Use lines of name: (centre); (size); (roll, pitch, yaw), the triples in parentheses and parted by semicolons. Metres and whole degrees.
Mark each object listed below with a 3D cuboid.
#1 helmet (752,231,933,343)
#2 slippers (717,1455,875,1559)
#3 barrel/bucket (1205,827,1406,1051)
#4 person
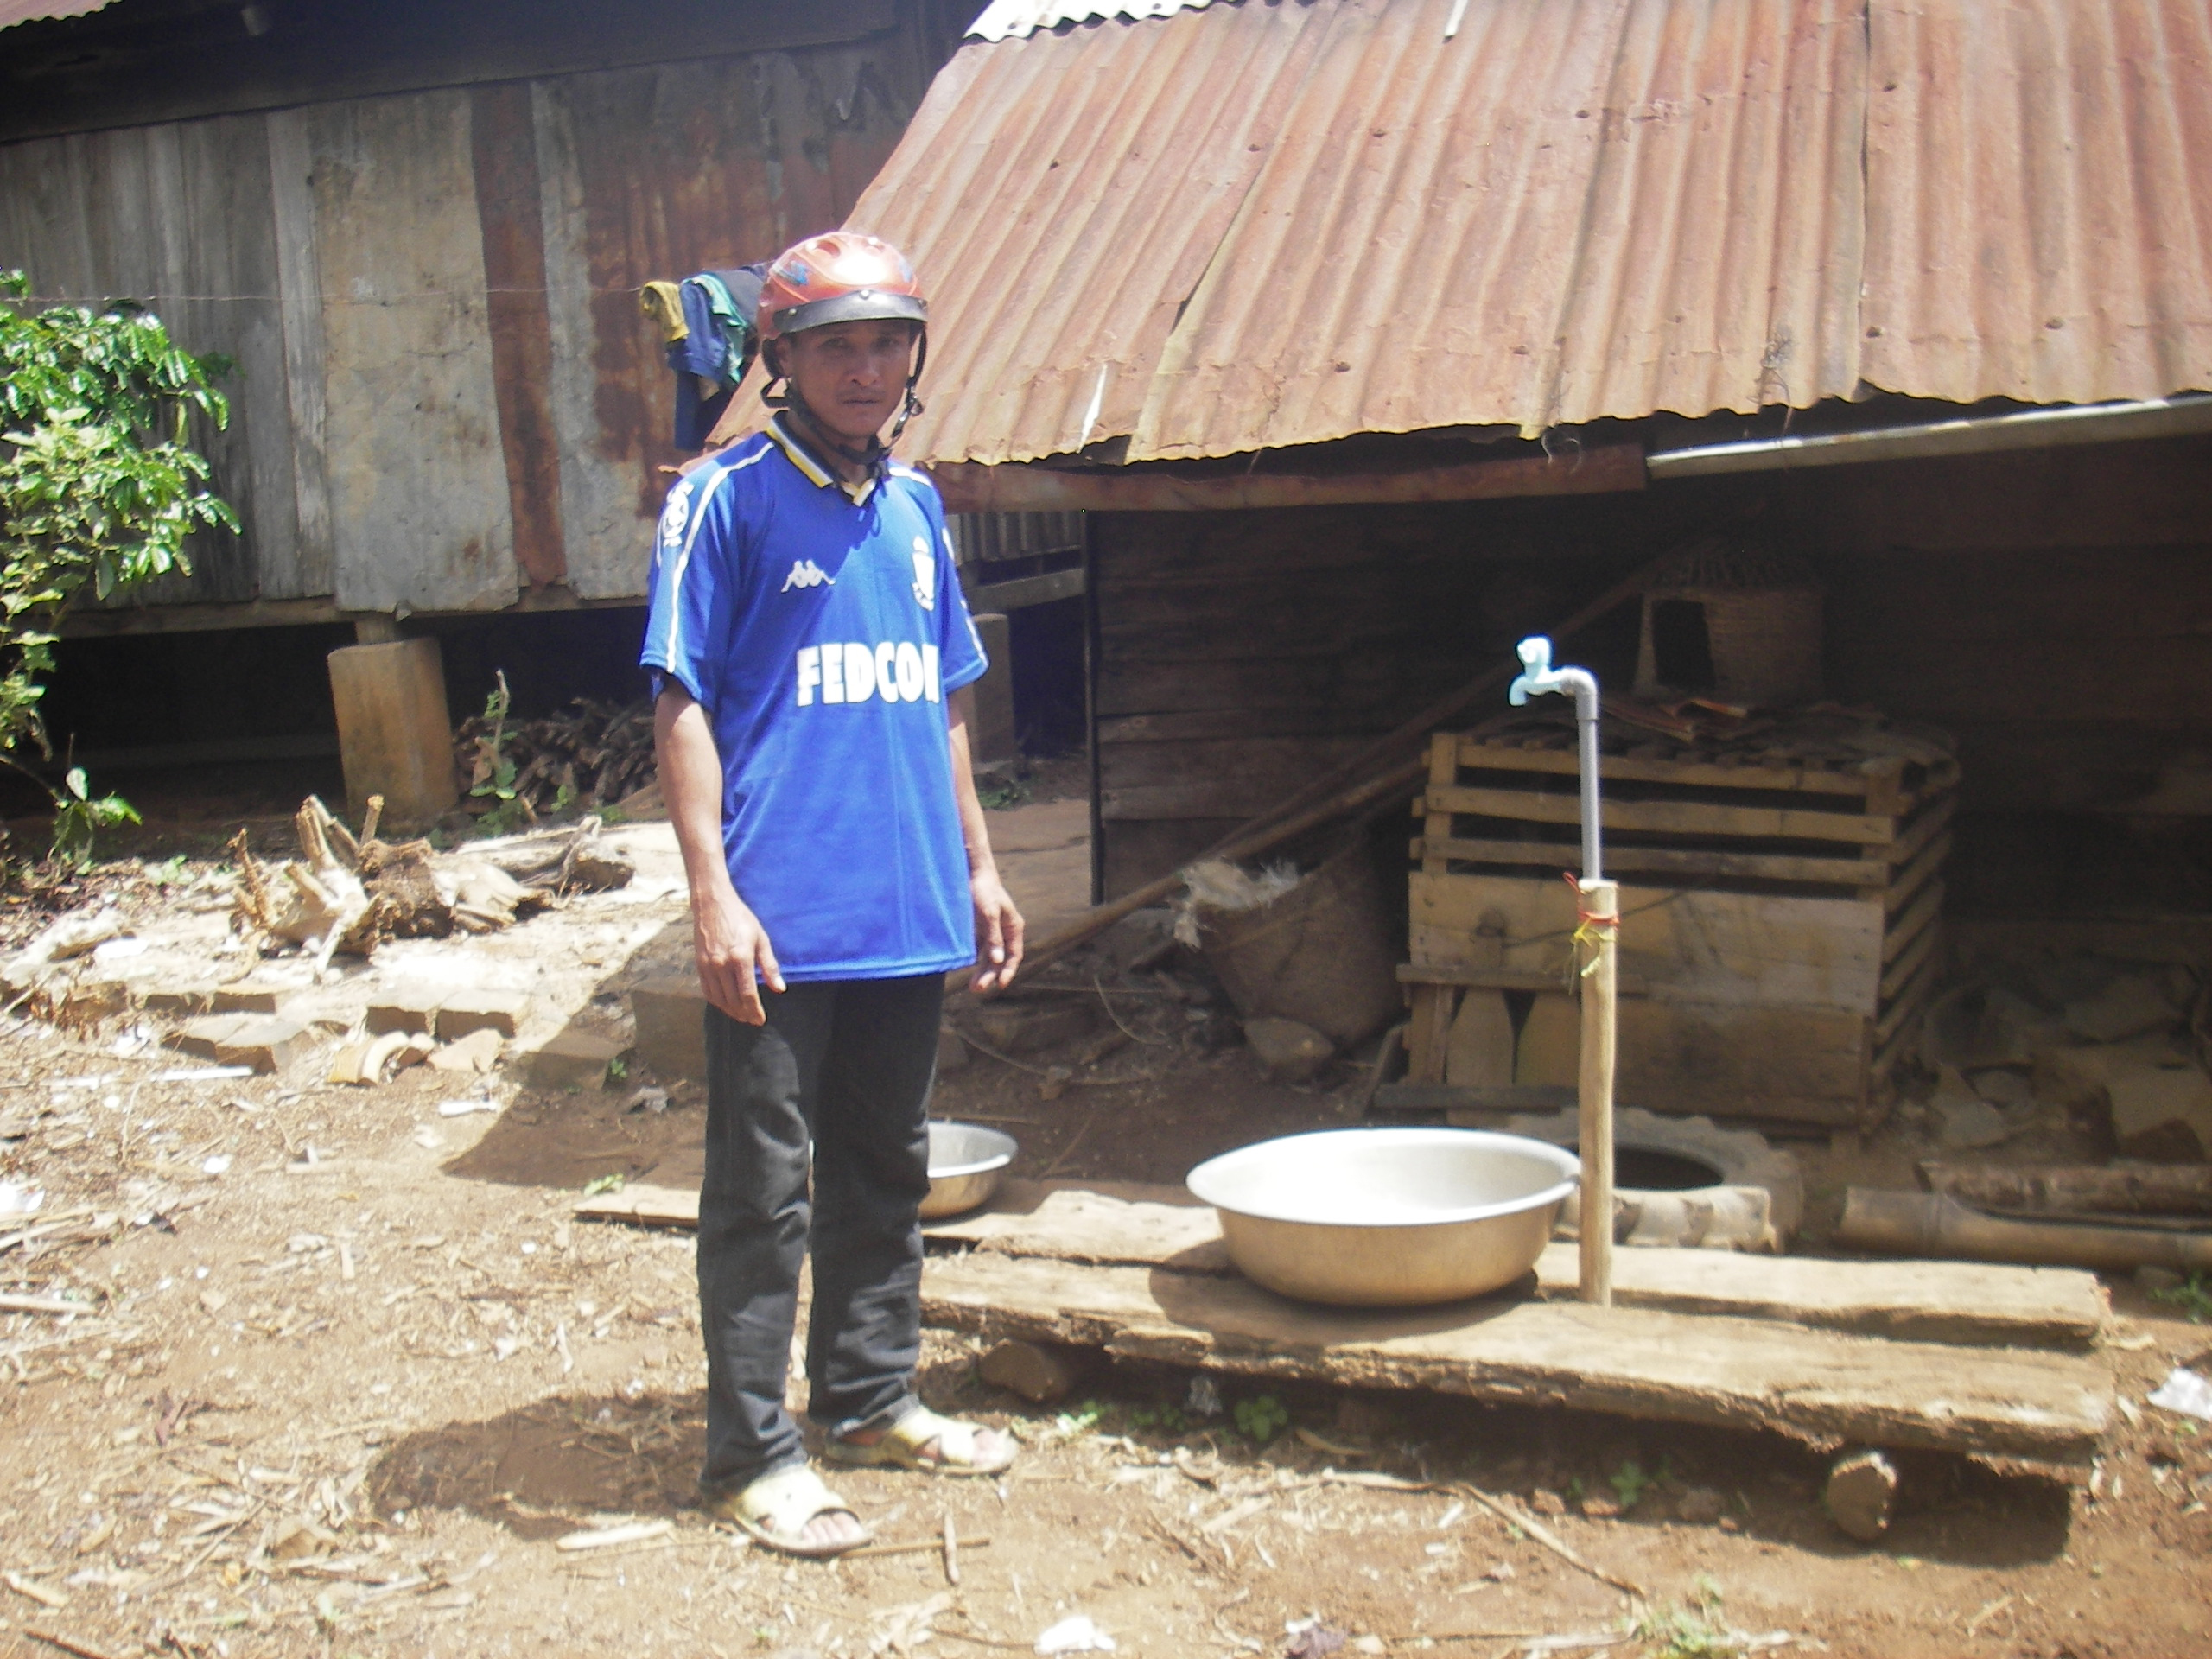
helmet: (-0.682, -1.361, 4.998); (0.263, 0.250, 0.349); (-4, 15, -18)
slippers: (-0.780, 1.759, 5.053); (0.353, 0.139, 0.199); (1, 0, 44)
barrel/bucket: (0.914, 0.436, 7.806); (0.850, 0.618, 0.690); (-10, 5, 10)
person: (-0.703, 0.169, 5.095); (0.928, 3.346, 0.479); (-6, 9, -42)
